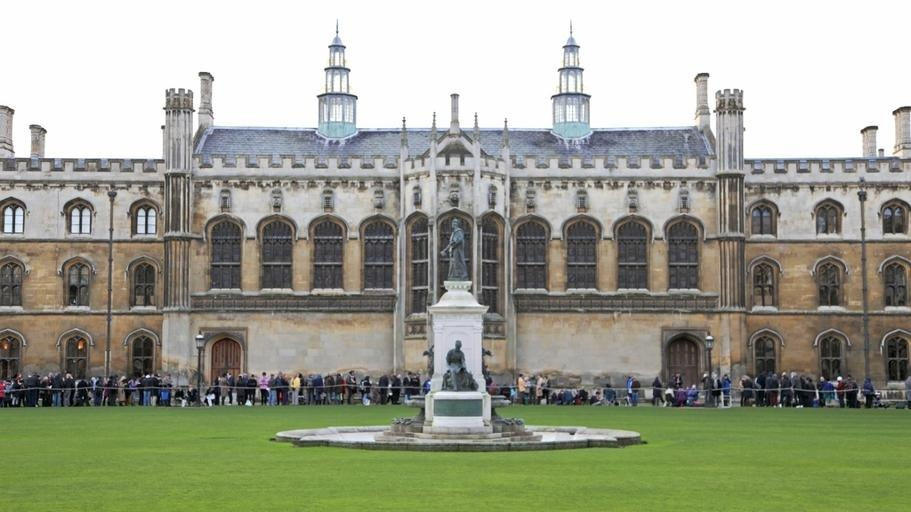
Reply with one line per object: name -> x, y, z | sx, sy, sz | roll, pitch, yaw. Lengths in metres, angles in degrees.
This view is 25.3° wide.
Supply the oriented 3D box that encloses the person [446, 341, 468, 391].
person -> 0.073, 5.468, 99.120 | 1.311, 2.409, 0.481 | 0, -10, -4
